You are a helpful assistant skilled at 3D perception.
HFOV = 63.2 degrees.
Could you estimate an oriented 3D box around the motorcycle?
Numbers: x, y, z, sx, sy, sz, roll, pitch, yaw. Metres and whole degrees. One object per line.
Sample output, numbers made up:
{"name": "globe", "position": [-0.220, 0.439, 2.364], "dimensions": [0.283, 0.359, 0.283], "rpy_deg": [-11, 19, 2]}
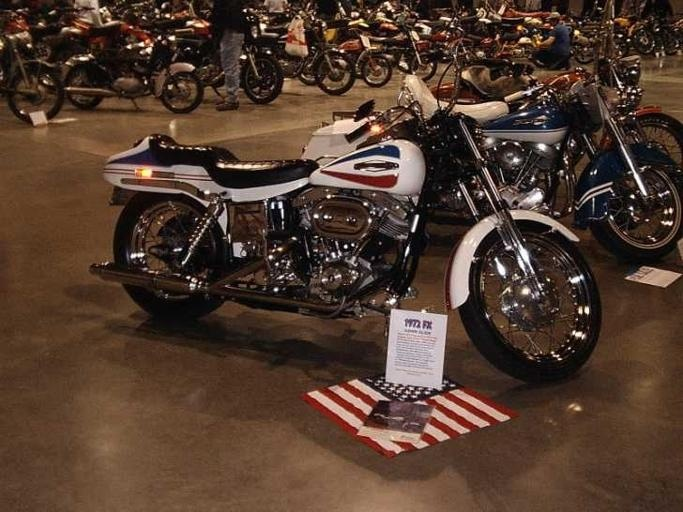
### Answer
{"name": "motorcycle", "position": [0.006, -0.290, 3.336], "dimensions": [3.197, 1.332, 1.307], "rpy_deg": [3, 20, 14]}

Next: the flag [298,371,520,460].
{"name": "flag", "position": [0.305, 0.707, 2.601], "dimensions": [0.767, 0.044, 0.560], "rpy_deg": [-8, 22, -25]}
